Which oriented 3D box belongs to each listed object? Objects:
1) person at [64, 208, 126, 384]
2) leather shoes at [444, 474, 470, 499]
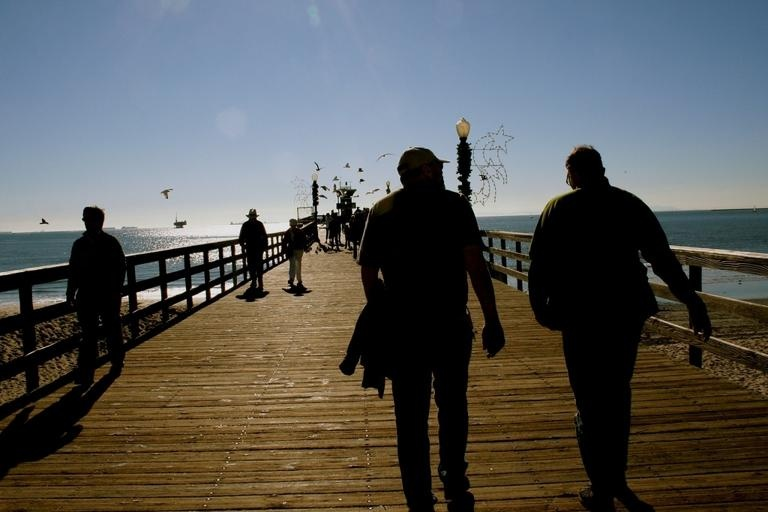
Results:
[{"bbox_3d":[-3.403,0.433,7.206,0.378,2.028,0.741,-1,4,22],"label":"person"},{"bbox_3d":[0.544,1.779,4.768,0.220,0.197,0.197,-3,-17,-1],"label":"leather shoes"}]
